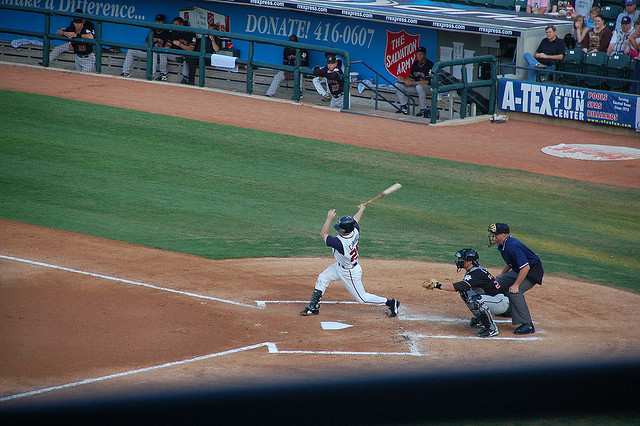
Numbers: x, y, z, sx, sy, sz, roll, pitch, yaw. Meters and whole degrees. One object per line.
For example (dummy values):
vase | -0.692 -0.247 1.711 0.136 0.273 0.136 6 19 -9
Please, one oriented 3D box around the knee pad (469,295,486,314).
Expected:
knee pad | 3.156 1.831 23.276 0.213 0.345 0.298 1 10 -31

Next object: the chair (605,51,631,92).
chair | 8.428 -4.011 32.788 0.527 1.083 0.685 5 10 -13

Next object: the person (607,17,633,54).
person | 8.684 -5.087 33.392 0.563 1.054 1.486 9 9 13

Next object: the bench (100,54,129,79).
bench | -6.805 -4.790 37.824 1.307 0.239 1.030 7 43 3

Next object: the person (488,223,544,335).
person | 4.185 1.228 23.722 1.628 1.981 1.000 -2 -2 -14

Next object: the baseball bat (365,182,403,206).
baseball bat | 1.514 -0.446 27.960 1.351 0.143 0.173 -21 28 27

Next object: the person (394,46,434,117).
person | 2.817 -3.890 34.364 0.833 2.048 1.204 3 10 -22

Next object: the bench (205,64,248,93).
bench | -3.016 -4.233 36.975 1.809 0.831 0.567 5 -1 7

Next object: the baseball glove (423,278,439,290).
baseball glove | 2.220 1.421 23.188 0.277 0.081 0.195 -9 10 9

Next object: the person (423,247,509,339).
person | 3.081 1.592 23.532 1.550 1.690 0.990 7 10 6
